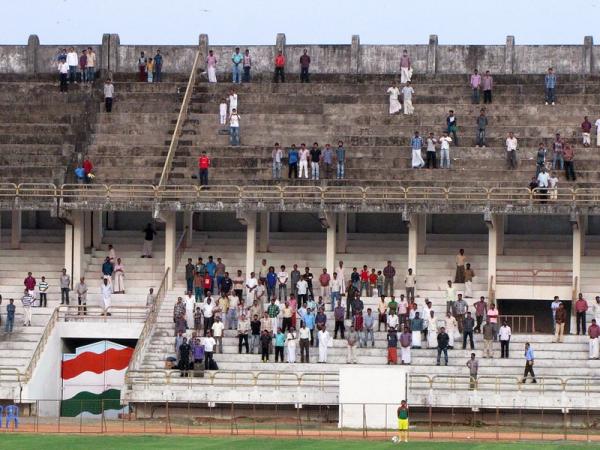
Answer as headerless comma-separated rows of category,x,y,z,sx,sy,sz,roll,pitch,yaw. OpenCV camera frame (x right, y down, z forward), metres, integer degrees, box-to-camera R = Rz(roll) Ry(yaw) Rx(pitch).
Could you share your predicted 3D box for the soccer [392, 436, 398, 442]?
soccer,3.875,8.677,85.510,0.217,0.239,0.171,-6,5,-16
